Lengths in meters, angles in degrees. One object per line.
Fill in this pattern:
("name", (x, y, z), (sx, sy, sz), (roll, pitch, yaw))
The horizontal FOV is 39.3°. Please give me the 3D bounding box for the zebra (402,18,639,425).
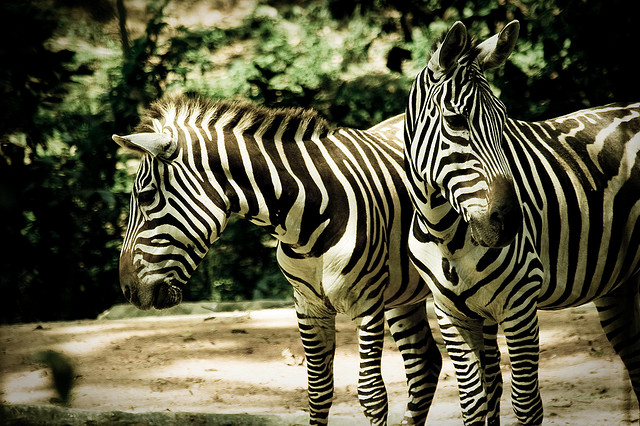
("zebra", (1.642, 0.110, 6.989), (1.852, 3.103, 0.661), (-6, 4, -21))
